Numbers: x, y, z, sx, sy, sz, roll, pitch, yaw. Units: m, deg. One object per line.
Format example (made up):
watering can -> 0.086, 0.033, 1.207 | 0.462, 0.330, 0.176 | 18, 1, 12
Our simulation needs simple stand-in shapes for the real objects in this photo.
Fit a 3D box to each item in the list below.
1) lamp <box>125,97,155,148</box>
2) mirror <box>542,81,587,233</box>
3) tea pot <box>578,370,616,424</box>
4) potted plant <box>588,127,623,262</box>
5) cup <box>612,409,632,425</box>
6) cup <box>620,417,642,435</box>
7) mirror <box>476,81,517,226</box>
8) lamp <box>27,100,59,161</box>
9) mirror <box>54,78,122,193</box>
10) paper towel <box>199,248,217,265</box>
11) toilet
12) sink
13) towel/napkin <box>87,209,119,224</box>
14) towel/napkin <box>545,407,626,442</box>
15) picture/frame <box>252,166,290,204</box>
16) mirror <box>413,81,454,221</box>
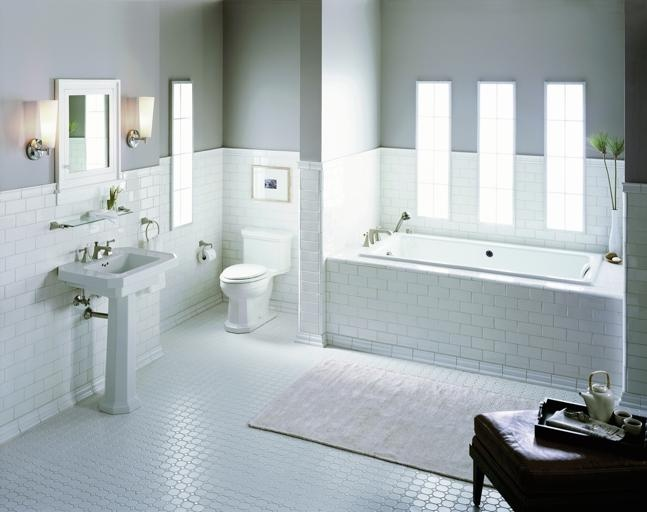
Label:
lamp -> -1.581, -1.138, 4.577 | 0.213, 0.424, 0.204 | 3, 11, 3
mirror -> 2.517, -0.999, 5.538 | 0.478, 1.602, 0.046 | 0, 0, -13
tea pot -> 1.533, 0.775, 2.964 | 0.227, 0.266, 0.157 | -7, 3, -15
potted plant -> 2.837, -0.621, 5.298 | 0.419, 1.163, 0.301 | 11, 17, 38
cup -> 1.633, 0.864, 2.908 | 0.073, 0.056, 0.076 | 1, 8, 0
cup -> 1.609, 0.878, 2.760 | 0.057, 0.055, 0.080 | 0, 7, 23
mirror -> 1.926, -1.113, 5.849 | 0.047, 1.546, 0.470 | -19, 21, -38
lamp -> -1.960, -0.897, 3.793 | 0.222, 0.413, 0.145 | 0, -8, 17
mirror -> -1.833, -0.952, 4.079 | 0.102, 1.001, 0.843 | 5, 8, 20
paper towel -> -1.317, -0.039, 6.134 | 0.141, 0.230, 0.223 | 4, 8, 23
toilet -> -0.814, 0.254, 5.929 | 0.568, 0.981, 0.956 | 8, 12, 26
sink -> -1.617, 0.175, 4.244 | 0.598, 0.339, 0.743 | 7, 16, 23
towel/napkin -> -1.772, -0.309, 4.252 | 0.217, 0.111, 0.137 | -8, 16, -28
towel/napkin -> 1.407, 0.901, 2.830 | 0.243, 0.054, 0.147 | 6, 10, 27
picture/frame -> -0.591, -0.838, 6.128 | 0.389, 0.350, 0.029 | 6, 8, 23
mirror -> 1.273, -1.220, 6.140 | 0.497, 1.581, 0.065 | -2, 3, -22
